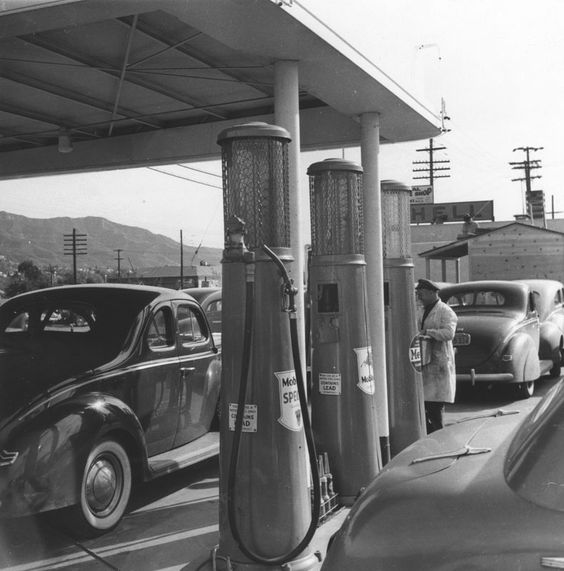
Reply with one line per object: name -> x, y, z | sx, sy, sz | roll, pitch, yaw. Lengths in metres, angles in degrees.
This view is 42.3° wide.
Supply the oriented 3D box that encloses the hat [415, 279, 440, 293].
hat -> 1.461, 0.001, 7.207 | 0.156, 0.075, 0.124 | 11, -6, -32
